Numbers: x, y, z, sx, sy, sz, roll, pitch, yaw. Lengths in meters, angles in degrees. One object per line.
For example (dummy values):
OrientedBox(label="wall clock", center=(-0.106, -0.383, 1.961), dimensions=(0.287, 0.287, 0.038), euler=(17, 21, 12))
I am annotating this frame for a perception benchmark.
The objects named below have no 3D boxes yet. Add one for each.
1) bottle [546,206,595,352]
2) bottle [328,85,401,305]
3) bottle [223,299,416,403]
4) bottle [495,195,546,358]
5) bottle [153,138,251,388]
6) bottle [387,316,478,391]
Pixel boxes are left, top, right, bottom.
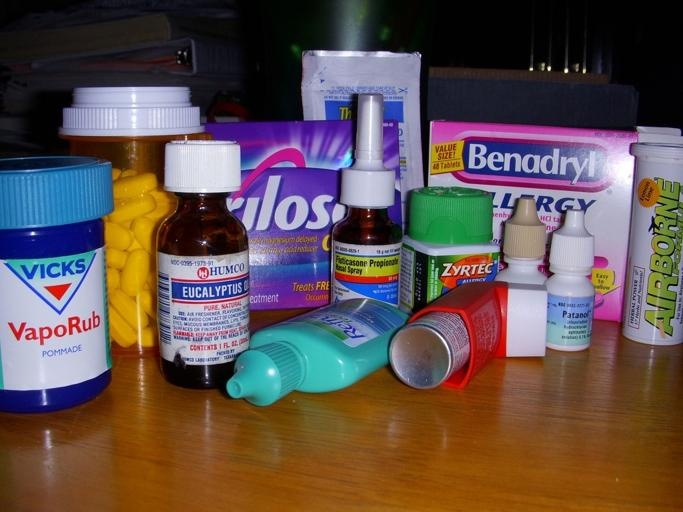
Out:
OrientedBox(label="bottle", center=(0.255, 0.041, 0.680), dimensions=(0.049, 0.130, 0.040), euler=(3, 16, 17))
OrientedBox(label="bottle", center=(0.027, -0.065, 0.709), dimensions=(0.084, 0.239, 0.142), euler=(-1, 15, 3))
OrientedBox(label="bottle", center=(-0.024, 0.077, 0.578), dimensions=(0.148, 0.037, 0.080), euler=(-11, 20, -38))
OrientedBox(label="bottle", center=(0.211, 0.016, 0.705), dimensions=(0.058, 0.164, 0.159), euler=(2, 15, 16))
OrientedBox(label="bottle", center=(-0.121, 0.002, 0.607), dimensions=(0.087, 0.233, 0.135), euler=(8, 18, 32))
OrientedBox(label="bottle", center=(0.084, 0.088, 0.579), dimensions=(0.062, 0.064, 0.058), euler=(7, 17, 31))
